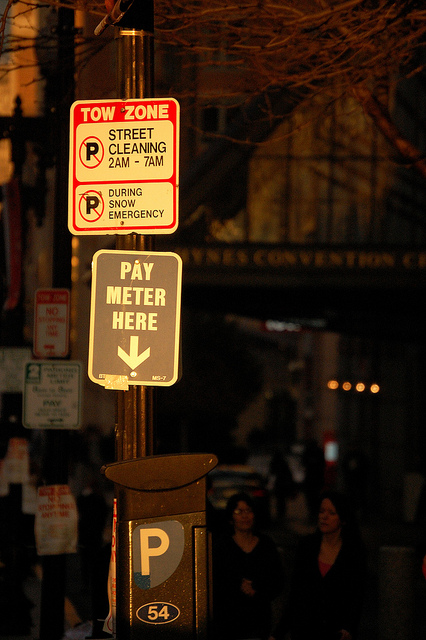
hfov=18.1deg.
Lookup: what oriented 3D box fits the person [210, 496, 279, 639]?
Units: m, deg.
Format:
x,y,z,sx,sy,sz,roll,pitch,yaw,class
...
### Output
x,y,z,sx,sy,sz,roll,pitch,yaw,class
0.242,1.863,10.205,0.487,1.034,0.475,2,-3,0,person
